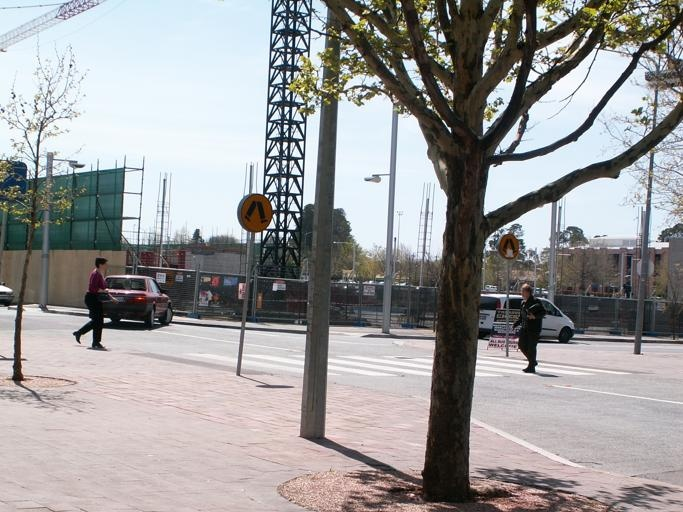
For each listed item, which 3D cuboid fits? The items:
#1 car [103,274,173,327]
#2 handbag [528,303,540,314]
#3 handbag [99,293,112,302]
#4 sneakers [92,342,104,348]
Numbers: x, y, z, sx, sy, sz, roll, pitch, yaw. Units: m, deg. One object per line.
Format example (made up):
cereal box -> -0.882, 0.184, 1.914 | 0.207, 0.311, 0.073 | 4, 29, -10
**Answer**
car -> -6.729, 1.453, 27.366 | 1.366, 0.983, 2.750 | 1, 1, 4
handbag -> 4.596, 1.255, 19.430 | 0.063, 0.275, 0.183 | 13, 1, -39
handbag -> -7.191, 1.251, 24.787 | 0.433, 0.346, 0.307 | 4, -3, -14
sneakers -> -5.781, 2.103, 19.354 | 0.342, 0.160, 0.118 | 3, 1, -28
